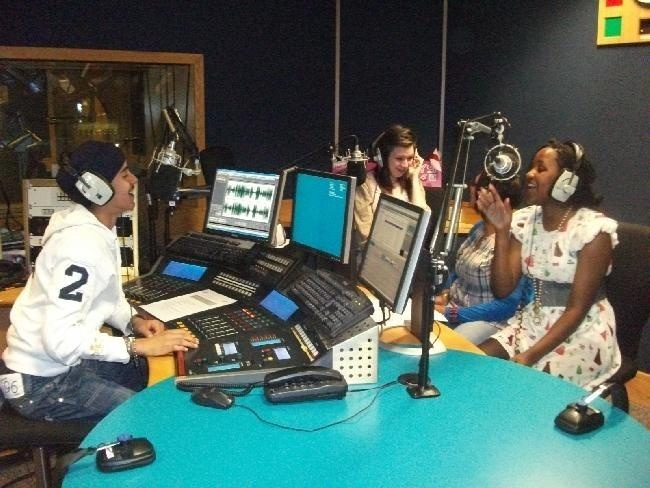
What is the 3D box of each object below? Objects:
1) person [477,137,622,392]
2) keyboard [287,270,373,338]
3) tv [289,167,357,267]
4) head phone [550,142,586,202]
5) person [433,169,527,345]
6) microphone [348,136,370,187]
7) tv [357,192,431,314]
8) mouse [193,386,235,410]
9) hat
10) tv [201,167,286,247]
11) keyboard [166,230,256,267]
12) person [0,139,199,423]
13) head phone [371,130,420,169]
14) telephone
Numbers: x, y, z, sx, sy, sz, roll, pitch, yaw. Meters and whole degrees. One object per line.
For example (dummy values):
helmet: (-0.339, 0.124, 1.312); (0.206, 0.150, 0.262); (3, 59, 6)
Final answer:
person: (1.122, 0.203, 2.536); (0.883, 1.347, 0.602); (-2, 7, -5)
keyboard: (0.016, 0.212, 1.945); (0.216, 0.071, 0.419); (-27, 30, -16)
tv: (-0.017, -0.116, 2.335); (0.054, 0.413, 0.516); (-5, 16, -34)
head phone: (1.187, -0.333, 2.357); (0.111, 0.299, 0.223); (13, 21, 25)
person: (0.844, 0.068, 2.826); (0.538, 0.866, 0.555); (-6, 11, -10)
microphone: (0.192, -0.479, 2.941); (0.121, 0.254, 0.124); (0, 3, 20)
tv: (0.281, 0.053, 2.001); (0.064, 0.437, 0.617); (15, 19, -16)
mouse: (-0.359, 0.494, 1.543); (0.107, 0.031, 0.061); (4, 21, 19)
hat: (-1.034, -0.257, 2.010); (0.223, 0.219, 0.292); (5, -9, 45)
tv: (-0.459, -0.215, 2.716); (0.599, 0.411, 0.055); (11, 5, 39)
keyboard: (-0.625, 0.001, 2.670); (0.457, 0.198, 0.101); (13, 5, -36)
person: (-0.951, 0.090, 2.476); (1.147, 1.363, 0.915); (3, 8, -29)
head phone: (0.506, -0.724, 3.674); (0.345, 0.310, 0.254); (-8, 14, -1)
telephone: (-0.161, 0.465, 1.576); (0.363, 0.069, 0.215); (1, 0, -14)
